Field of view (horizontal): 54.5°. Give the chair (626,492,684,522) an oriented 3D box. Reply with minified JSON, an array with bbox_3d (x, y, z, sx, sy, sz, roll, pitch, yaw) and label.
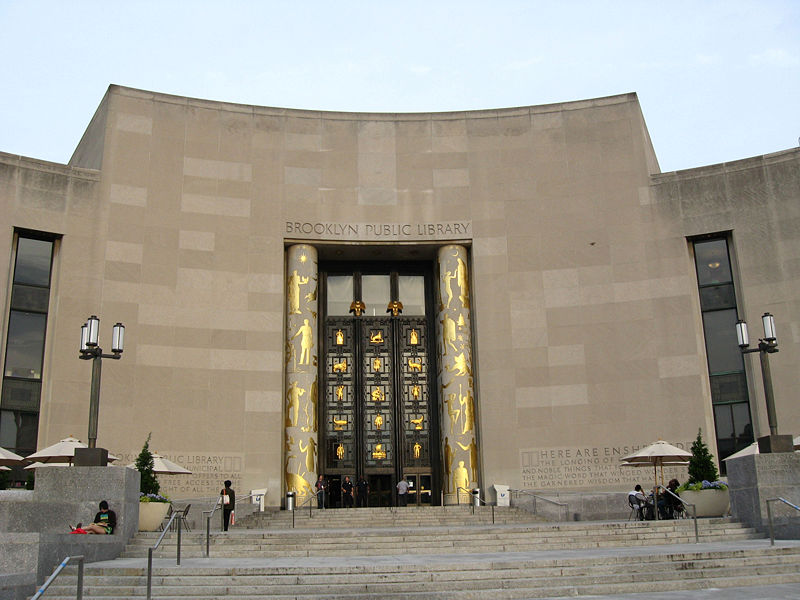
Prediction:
[{"bbox_3d":[8.169,6.421,24.307,1.581,0.849,2.493,-3,-14,5],"label":"chair"}]

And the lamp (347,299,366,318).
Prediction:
[{"bbox_3d":[-1.952,0.413,34.574,0.741,0.706,0.319,0,-10,-3],"label":"lamp"}]

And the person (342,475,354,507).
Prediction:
[{"bbox_3d":[-2.142,7.888,32.242,0.528,1.279,0.824,-1,-14,-5],"label":"person"}]

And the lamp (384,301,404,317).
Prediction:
[{"bbox_3d":[-0.277,0.417,34.787,1.027,0.928,0.548,1,-8,-5],"label":"lamp"}]

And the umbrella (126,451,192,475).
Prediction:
[{"bbox_3d":[-7.850,5.250,24.984,1.721,0.573,1.644,-11,-27,29],"label":"umbrella"}]

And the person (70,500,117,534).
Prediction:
[{"bbox_3d":[-7.021,5.070,18.136,0.678,0.794,0.705,1,-14,-11],"label":"person"}]

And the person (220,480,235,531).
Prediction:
[{"bbox_3d":[-5.075,6.000,22.743,0.387,1.418,1.997,1,-14,-13],"label":"person"}]

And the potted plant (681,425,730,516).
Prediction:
[{"bbox_3d":[9.014,5.189,23.078,1.284,2.412,2.172,-7,-15,20],"label":"potted plant"}]

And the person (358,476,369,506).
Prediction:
[{"bbox_3d":[-1.527,7.903,32.147,0.426,1.212,1.120,-2,-14,0],"label":"person"}]
